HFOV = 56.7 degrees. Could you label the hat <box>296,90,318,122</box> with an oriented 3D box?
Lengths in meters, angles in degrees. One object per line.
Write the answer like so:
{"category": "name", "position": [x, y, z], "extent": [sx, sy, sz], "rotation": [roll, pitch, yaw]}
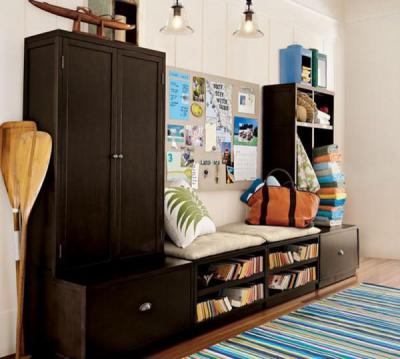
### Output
{"category": "hat", "position": [1.141, -0.795, 3.975], "extent": [0.261, 0.343, 0.137], "rotation": [-14, 10, -37]}

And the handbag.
{"category": "handbag", "position": [0.748, 0.181, 3.502], "extent": [0.633, 0.584, 0.277], "rotation": [3, -13, 11]}

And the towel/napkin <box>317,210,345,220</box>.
{"category": "towel/napkin", "position": [1.430, 0.374, 4.009], "extent": [0.148, 0.053, 0.143], "rotation": [-3, 3, -45]}

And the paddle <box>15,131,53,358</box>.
{"category": "paddle", "position": [-0.911, 0.362, 2.003], "extent": [0.138, 1.246, 0.310], "rotation": [0, 1, -37]}

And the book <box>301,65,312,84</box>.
{"category": "book", "position": [1.198, -1.182, 4.178], "extent": [0.042, 0.178, 0.167], "rotation": [7, 11, 43]}
